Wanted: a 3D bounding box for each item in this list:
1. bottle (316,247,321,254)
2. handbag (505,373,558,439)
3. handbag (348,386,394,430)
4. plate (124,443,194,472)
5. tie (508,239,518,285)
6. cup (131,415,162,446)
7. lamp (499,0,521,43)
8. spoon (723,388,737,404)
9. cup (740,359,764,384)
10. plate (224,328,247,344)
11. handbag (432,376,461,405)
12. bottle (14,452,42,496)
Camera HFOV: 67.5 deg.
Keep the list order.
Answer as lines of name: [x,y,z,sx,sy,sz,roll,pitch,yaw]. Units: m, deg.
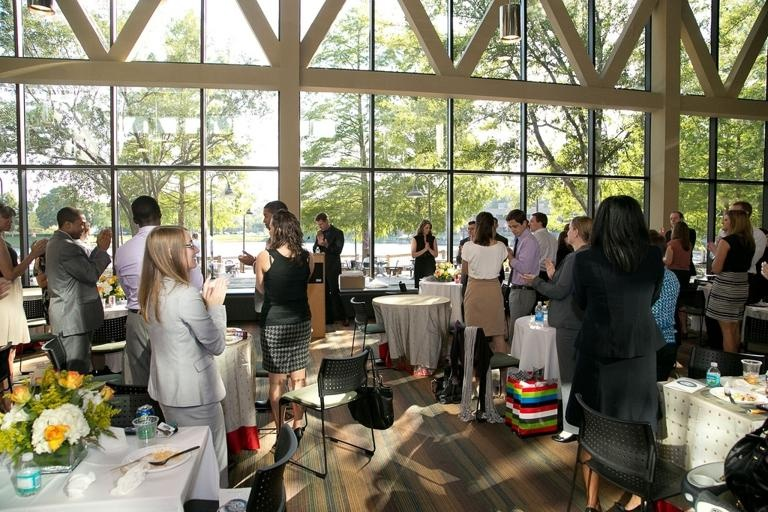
bottle: [-1.241,-0.092,10.740,0.065,0.073,0.130,-9,40,-3]
handbag: [1.656,1.671,6.545,0.558,0.859,0.667,0,-4,-14]
handbag: [-0.125,1.597,6.145,0.469,0.504,0.366,-2,-1,17]
plate: [-1.687,1.534,4.358,0.306,0.048,0.201,-2,8,-25]
tie: [1.900,0.096,8.477,0.107,0.859,0.112,6,-8,2]
cup: [-1.892,1.377,4.541,0.179,0.155,0.196,0,2,0]
lamp: [1.849,-3.407,8.373,0.292,0.515,0.361,3,14,13]
spoon: [3.063,1.240,5.079,0.029,0.025,0.172,-16,33,26]
cup: [3.422,1.079,5.396,0.192,0.222,0.208,1,-1,0]
plate: [-1.635,0.870,6.237,0.262,0.103,0.194,1,3,30]
handbag: [0.744,1.609,7.100,0.371,0.290,0.385,0,-29,1]
bottle: [-2.592,1.570,4.136,0.184,0.290,0.140,-5,14,-19]
